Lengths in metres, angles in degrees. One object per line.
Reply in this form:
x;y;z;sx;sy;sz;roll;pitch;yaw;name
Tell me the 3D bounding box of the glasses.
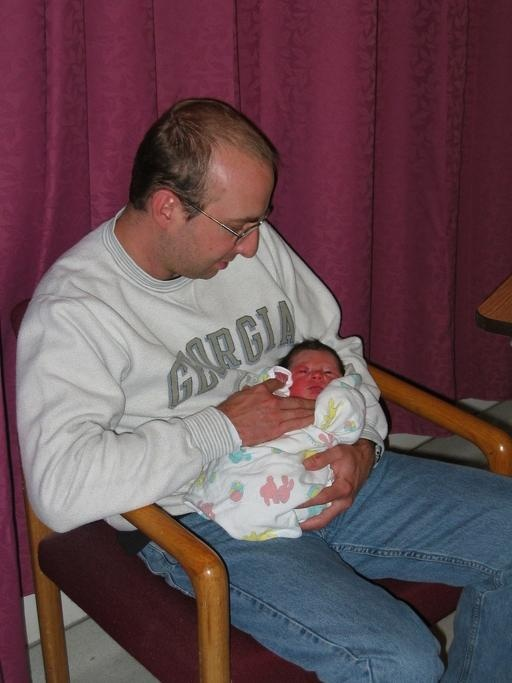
-0.082;-0.225;1.170;0.120;0.033;0.114;37;9;0;glasses
